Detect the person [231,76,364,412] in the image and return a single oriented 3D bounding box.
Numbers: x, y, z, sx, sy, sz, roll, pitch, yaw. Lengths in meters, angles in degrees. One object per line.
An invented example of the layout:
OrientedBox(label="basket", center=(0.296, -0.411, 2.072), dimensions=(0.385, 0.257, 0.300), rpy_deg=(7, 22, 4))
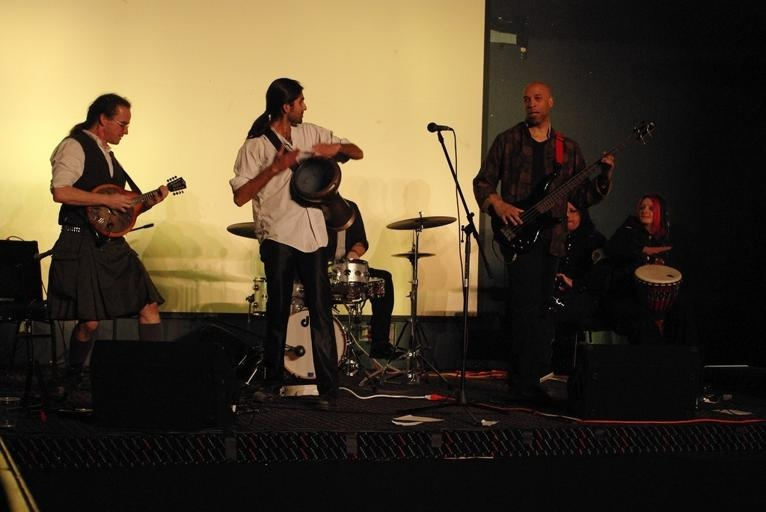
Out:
OrientedBox(label="person", center=(-0.788, -0.120, 6.943), dimensions=(1.009, 2.813, 0.497), rpy_deg=(-1, -2, -4))

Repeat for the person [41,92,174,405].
OrientedBox(label="person", center=(-2.558, -0.127, 7.300), dimensions=(0.930, 2.772, 0.548), rpy_deg=(0, -2, -24))

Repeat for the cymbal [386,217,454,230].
OrientedBox(label="cymbal", center=(0.407, -0.350, 8.424), dimensions=(0.393, 0.158, 0.720), rpy_deg=(0, -2, -36))

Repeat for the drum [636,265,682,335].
OrientedBox(label="drum", center=(2.668, 0.411, 7.709), dimensions=(0.402, 0.656, 0.459), rpy_deg=(-2, -2, 25))

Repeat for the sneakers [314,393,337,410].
OrientedBox(label="sneakers", center=(-0.482, 1.243, 6.777), dimensions=(0.101, 0.112, 0.153), rpy_deg=(1, -11, 5))

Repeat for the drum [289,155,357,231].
OrientedBox(label="drum", center=(-0.492, -0.531, 7.143), dimensions=(0.427, 0.455, 0.658), rpy_deg=(43, -11, 33))

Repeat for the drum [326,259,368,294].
OrientedBox(label="drum", center=(-0.343, 0.204, 7.996), dimensions=(0.326, 0.249, 0.340), rpy_deg=(0, -7, 0))

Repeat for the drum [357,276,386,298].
OrientedBox(label="drum", center=(-0.131, 0.314, 8.261), dimensions=(0.252, 0.135, 0.325), rpy_deg=(0, -2, -4))
